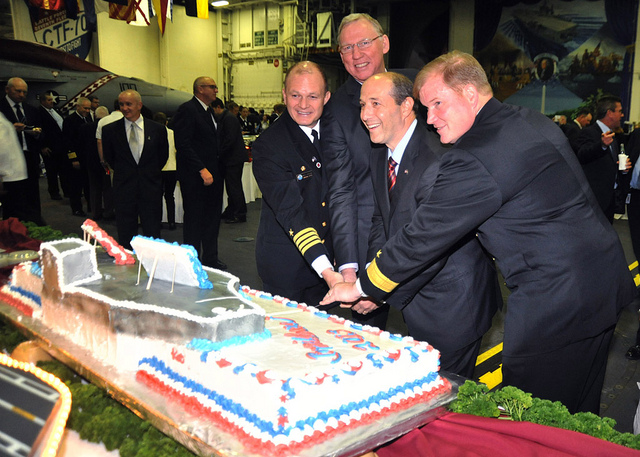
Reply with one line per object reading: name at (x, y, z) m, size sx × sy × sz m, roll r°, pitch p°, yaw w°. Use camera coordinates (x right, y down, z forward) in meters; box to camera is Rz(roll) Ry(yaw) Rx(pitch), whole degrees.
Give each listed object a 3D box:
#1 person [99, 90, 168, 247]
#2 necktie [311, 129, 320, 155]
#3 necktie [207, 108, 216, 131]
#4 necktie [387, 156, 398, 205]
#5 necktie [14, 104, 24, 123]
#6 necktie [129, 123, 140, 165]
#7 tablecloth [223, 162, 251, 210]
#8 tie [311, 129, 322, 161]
person at (-2.307, -0.595, 5.981) m, size 0.799 × 2.280 × 0.597 m, roll -8°, pitch 20°, yaw -27°
necktie at (-0.030, -0.621, 3.140) m, size 0.034 × 0.125 × 0.091 m, roll 0°, pitch 3°, yaw 15°
necktie at (-1.392, -1.460, 6.012) m, size 0.091 × 0.269 × 0.128 m, roll -2°, pitch 13°, yaw -16°
necktie at (0.418, -0.288, 2.718) m, size 0.034 × 0.253 × 0.043 m, roll 4°, pitch -8°, yaw -37°
necktie at (-5.186, -2.068, 8.129) m, size 0.058 × 0.257 × 0.185 m, roll -10°, pitch 4°, yaw 2°
necktie at (-2.244, -1.089, 5.687) m, size 0.114 × 0.461 × 0.213 m, roll -3°, pitch 13°, yaw -22°
tablecloth at (-1.820, -1.217, 10.390) m, size 0.501 × 0.936 × 0.656 m, roll -11°, pitch 28°, yaw -26°
tie at (-0.021, -0.583, 3.145) m, size 0.046 × 0.210 × 0.053 m, roll -15°, pitch 8°, yaw -30°
